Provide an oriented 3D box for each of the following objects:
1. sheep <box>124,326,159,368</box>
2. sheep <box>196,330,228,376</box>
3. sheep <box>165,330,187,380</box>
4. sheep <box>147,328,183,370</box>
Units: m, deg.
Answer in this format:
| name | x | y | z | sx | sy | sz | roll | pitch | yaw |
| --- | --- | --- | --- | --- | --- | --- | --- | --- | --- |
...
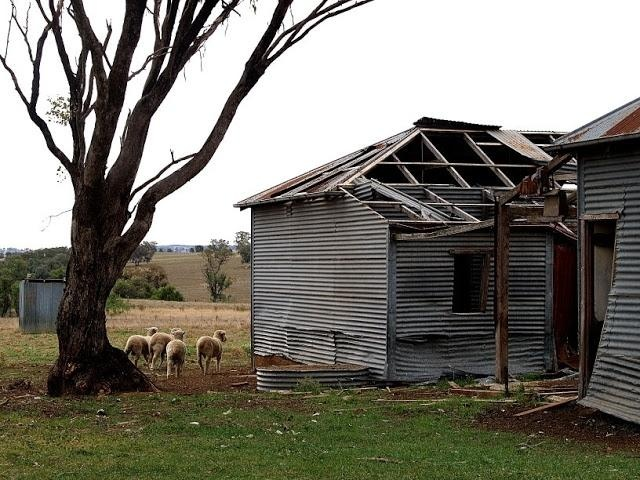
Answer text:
| name | x | y | z | sx | sy | sz | roll | pitch | yaw |
| --- | --- | --- | --- | --- | --- | --- | --- | --- | --- |
| sheep | -5.552 | 3.285 | 26.011 | 0.402 | 0.924 | 1.415 | 5 | 11 | 29 |
| sheep | -3.269 | 3.351 | 25.484 | 0.507 | 1.269 | 1.656 | -6 | -7 | 17 |
| sheep | -4.246 | 3.302 | 24.555 | 0.532 | 1.358 | 1.660 | 1 | -6 | -11 |
| sheep | -4.726 | 3.283 | 25.970 | 0.656 | 1.277 | 1.924 | 0 | 2 | 18 |
